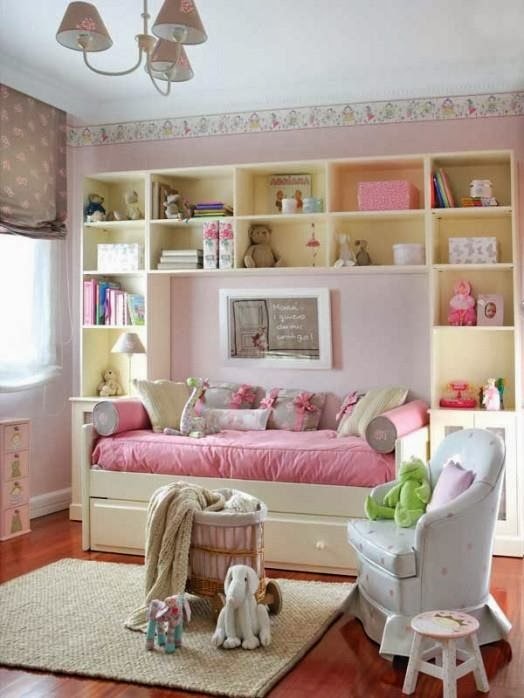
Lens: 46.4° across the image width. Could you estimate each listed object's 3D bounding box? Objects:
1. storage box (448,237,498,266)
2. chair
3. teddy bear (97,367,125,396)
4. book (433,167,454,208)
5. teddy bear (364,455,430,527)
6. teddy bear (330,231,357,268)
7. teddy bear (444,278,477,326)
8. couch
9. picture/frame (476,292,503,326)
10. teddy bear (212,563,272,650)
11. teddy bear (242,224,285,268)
[{"bbox_3d":[1.175,-0.543,3.409,0.239,0.118,0.173,1,2,24],"label":"storage box"},{"bbox_3d":[0.623,0.680,2.243,0.531,0.728,0.648,-1,-2,-4],"label":"chair"},{"bbox_3d":[-1.064,0.238,4.313,0.164,0.219,0.184,3,-24,-9],"label":"teddy bear"},{"bbox_3d":[1.040,-0.930,3.549,0.113,0.248,0.129,-1,-3,12],"label":"book"},{"bbox_3d":[0.561,0.576,2.405,0.213,0.137,0.326,-6,18,42],"label":"teddy bear"},{"bbox_3d":[0.509,-0.609,3.789,0.134,0.248,0.270,-1,-3,9],"label":"teddy bear"},{"bbox_3d":[1.171,-0.263,3.583,0.146,0.276,0.236,-2,-4,24],"label":"teddy bear"},{"bbox_3d":[-0.004,0.688,3.404,1.998,0.808,0.672,1,0,25],"label":"couch"},{"bbox_3d":[1.279,-0.219,3.442,0.182,0.240,0.135,-1,-8,22],"label":"picture/frame"},{"bbox_3d":[-0.073,0.899,2.144,0.210,0.259,0.259,-1,-16,-1],"label":"teddy bear"},{"bbox_3d":[0.001,-0.686,4.043,0.323,0.342,0.212,1,-3,-30],"label":"teddy bear"}]
